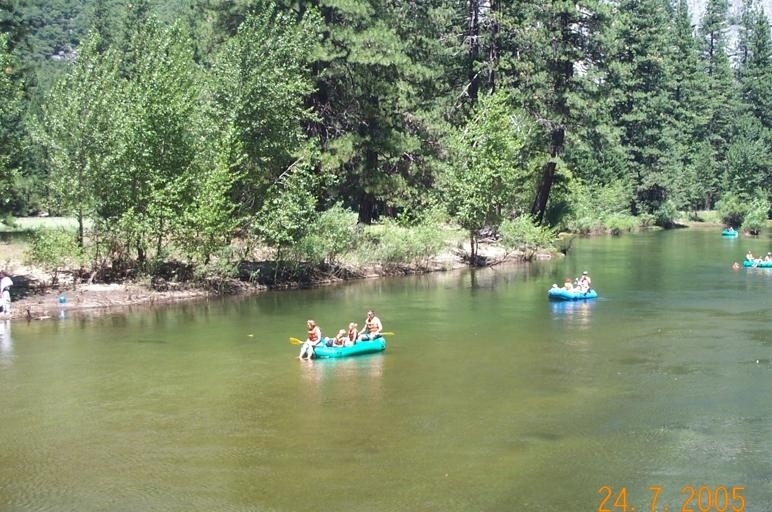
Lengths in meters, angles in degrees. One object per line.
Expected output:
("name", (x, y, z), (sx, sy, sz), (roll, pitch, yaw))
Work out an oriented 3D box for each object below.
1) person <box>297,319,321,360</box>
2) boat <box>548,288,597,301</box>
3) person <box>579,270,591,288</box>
("person", (-3.669, 3.936, 40.572), (1.100, 1.789, 1.139), (0, 13, -3))
("boat", (11.691, 2.378, 52.625), (1.931, 0.533, 1.158), (2, -1, -19))
("person", (13.127, 1.474, 55.421), (0.377, 0.955, 0.399), (7, 30, 14))
